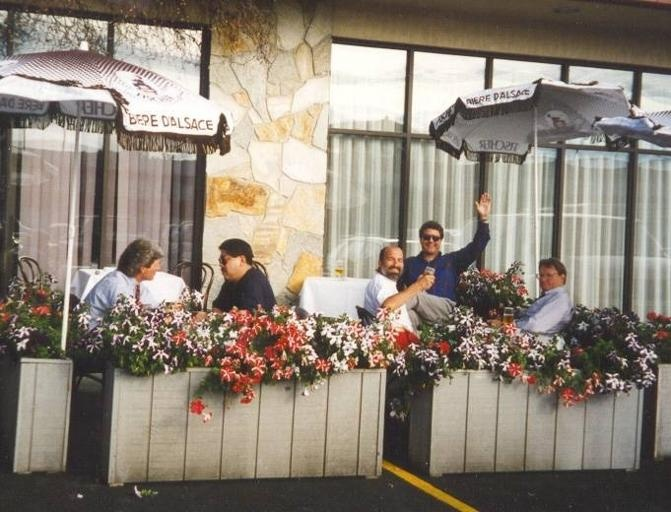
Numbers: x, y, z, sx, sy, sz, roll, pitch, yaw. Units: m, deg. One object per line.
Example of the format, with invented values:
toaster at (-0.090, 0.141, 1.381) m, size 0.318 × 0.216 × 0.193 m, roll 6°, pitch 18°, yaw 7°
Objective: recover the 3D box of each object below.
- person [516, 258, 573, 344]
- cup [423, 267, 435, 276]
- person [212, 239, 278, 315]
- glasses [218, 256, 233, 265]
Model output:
person at (2.057, 0.461, 14.887) m, size 0.437 × 0.740 × 0.489 m, roll 16°, pitch -21°, yaw -9°
cup at (0.893, 0.146, 14.431) m, size 0.064 × 0.064 × 0.111 m, roll 9°, pitch 18°, yaw 12°
person at (-0.876, 0.194, 14.391) m, size 0.499 × 0.782 × 0.763 m, roll -8°, pitch 13°, yaw -26°
glasses at (-1.064, 0.025, 14.288) m, size 0.073 × 0.107 × 0.105 m, roll 1°, pitch 33°, yaw 25°
